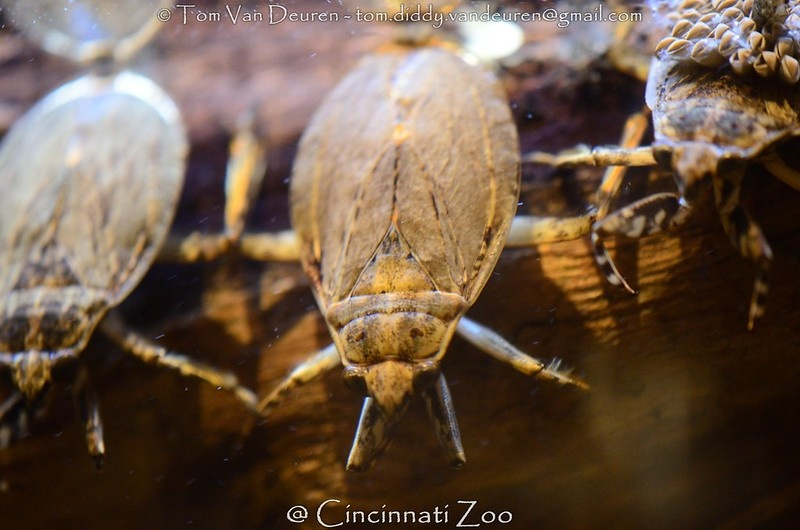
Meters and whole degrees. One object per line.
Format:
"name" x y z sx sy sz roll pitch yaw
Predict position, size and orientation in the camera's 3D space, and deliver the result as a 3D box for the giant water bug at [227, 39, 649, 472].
"giant water bug" 0.033 0.000 1.639 0.696 0.218 0.697 6 81 23
